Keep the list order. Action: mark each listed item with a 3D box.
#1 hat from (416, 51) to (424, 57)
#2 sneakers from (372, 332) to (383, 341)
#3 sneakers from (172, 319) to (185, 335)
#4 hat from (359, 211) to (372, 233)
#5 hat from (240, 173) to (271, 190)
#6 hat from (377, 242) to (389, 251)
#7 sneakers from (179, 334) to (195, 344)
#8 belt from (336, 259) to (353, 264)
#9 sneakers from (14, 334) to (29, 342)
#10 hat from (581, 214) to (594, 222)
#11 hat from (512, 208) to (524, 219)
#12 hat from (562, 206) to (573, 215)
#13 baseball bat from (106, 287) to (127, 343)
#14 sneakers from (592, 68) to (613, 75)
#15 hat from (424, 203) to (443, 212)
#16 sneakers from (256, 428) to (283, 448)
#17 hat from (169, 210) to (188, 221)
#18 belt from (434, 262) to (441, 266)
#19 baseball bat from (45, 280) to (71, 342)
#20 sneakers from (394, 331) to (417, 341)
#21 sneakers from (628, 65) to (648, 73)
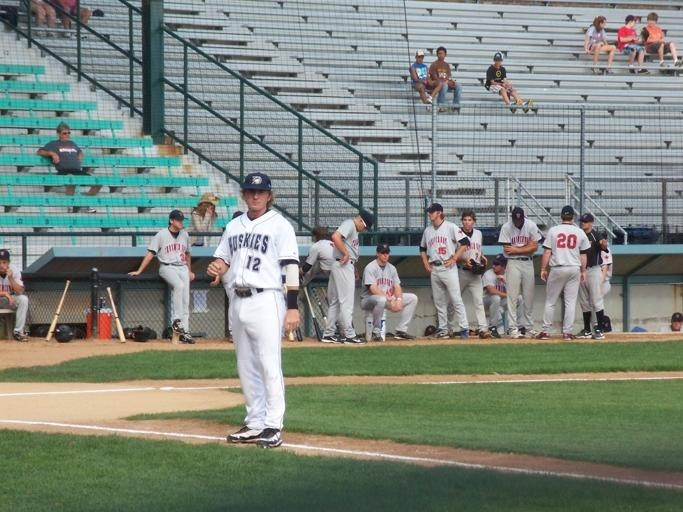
[{"bbox_3d":[2.018,-5.145,42.066,0.163,0.075,0.248,2,8,-4],"label":"hat"},{"bbox_3d":[0.787,1.681,35.216,0.266,0.261,0.128,1,4,2],"label":"sneakers"},{"bbox_3d":[-3.335,1.440,34.381,0.247,0.315,0.138,0,-3,-6],"label":"sneakers"},{"bbox_3d":[0.535,-0.751,34.429,0.188,0.357,0.255,-33,13,3],"label":"hat"},{"bbox_3d":[-1.355,-1.214,26.992,0.471,0.297,0.244,0,-3,0],"label":"hat"},{"bbox_3d":[0.902,-0.200,35.143,0.223,0.192,0.356,0,-4,-3],"label":"hat"},{"bbox_3d":[-3.135,1.693,34.586,0.266,0.222,0.441,-2,-4,19],"label":"sneakers"},{"bbox_3d":[0.108,0.094,34.158,0.354,0.121,0.257,0,-4,-14],"label":"belt"},{"bbox_3d":[-6.564,1.670,34.144,0.328,0.138,0.111,1,0,28],"label":"sneakers"},{"bbox_3d":[5.191,-0.816,34.833,0.186,0.146,0.266,2,-9,43],"label":"hat"},{"bbox_3d":[3.707,-0.906,34.673,0.232,0.237,0.186,0,-3,-4],"label":"hat"},{"bbox_3d":[4.691,-0.956,34.342,0.256,0.194,0.195,-1,-4,14],"label":"hat"},{"bbox_3d":[-4.717,1.211,34.998,0.165,1.132,0.172,-17,1,6],"label":"baseball bat"},{"bbox_3d":[7.231,-5.107,45.903,0.594,0.239,0.200,2,6,3],"label":"sneakers"},{"bbox_3d":[1.980,-1.026,34.645,0.257,0.135,0.177,2,-1,-27],"label":"hat"},{"bbox_3d":[-1.126,2.908,26.677,0.451,0.198,0.215,3,-3,-2],"label":"sneakers"},{"bbox_3d":[-3.418,-0.853,34.444,0.230,0.166,0.304,-3,-1,-43],"label":"hat"},{"bbox_3d":[2.048,0.146,34.793,0.166,0.072,0.040,-2,-4,19],"label":"belt"},{"bbox_3d":[-5.930,1.105,34.836,0.170,1.374,0.152,27,-26,-9],"label":"baseball bat"},{"bbox_3d":[1.386,1.685,35.386,0.447,0.195,0.163,0,-4,12],"label":"sneakers"},{"bbox_3d":[8.124,-5.161,45.628,0.633,0.248,0.232,3,3,14],"label":"sneakers"}]
